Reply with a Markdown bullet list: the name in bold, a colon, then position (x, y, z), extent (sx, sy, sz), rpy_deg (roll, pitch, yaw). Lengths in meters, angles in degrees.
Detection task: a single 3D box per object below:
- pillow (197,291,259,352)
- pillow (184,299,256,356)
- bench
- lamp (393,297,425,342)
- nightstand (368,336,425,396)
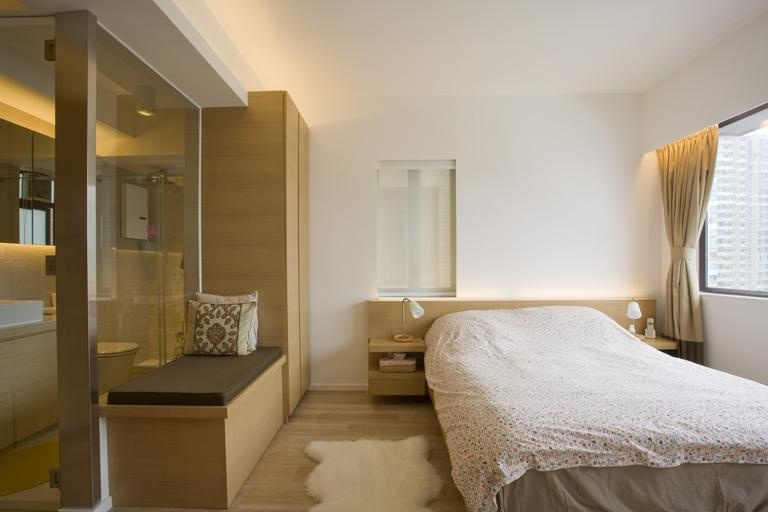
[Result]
- **pillow**: position (-1.302, 0.603, 5.183), extent (0.532, 0.529, 0.164), rpy_deg (1, -5, -3)
- **pillow**: position (-1.471, 0.643, 4.917), extent (0.457, 0.348, 0.163), rpy_deg (1, -31, -5)
- **bench**: position (-1.502, 1.073, 4.497), extent (0.895, 0.732, 1.575), rpy_deg (0, -2, -1)
- **lamp**: position (0.239, 0.654, 5.687), extent (0.426, 0.610, 0.299), rpy_deg (-2, -4, -3)
- **nightstand**: position (0.141, 1.082, 5.706), extent (0.559, 0.498, 0.608), rpy_deg (-1, -2, 10)
